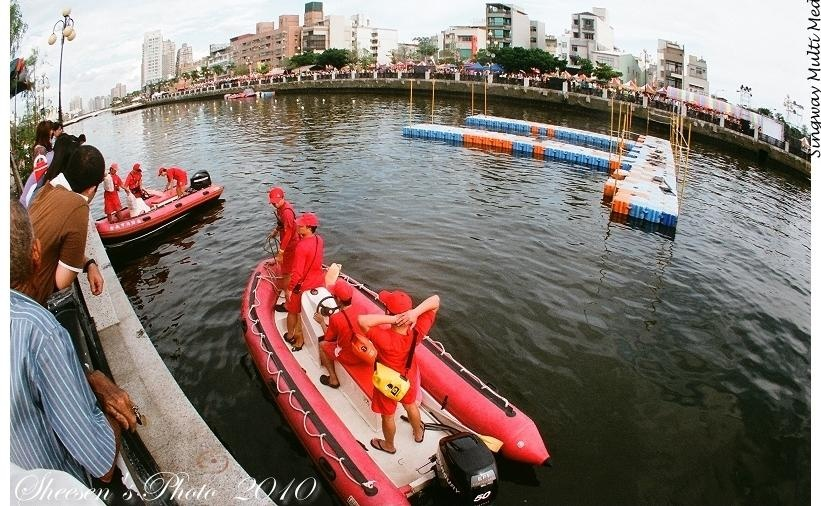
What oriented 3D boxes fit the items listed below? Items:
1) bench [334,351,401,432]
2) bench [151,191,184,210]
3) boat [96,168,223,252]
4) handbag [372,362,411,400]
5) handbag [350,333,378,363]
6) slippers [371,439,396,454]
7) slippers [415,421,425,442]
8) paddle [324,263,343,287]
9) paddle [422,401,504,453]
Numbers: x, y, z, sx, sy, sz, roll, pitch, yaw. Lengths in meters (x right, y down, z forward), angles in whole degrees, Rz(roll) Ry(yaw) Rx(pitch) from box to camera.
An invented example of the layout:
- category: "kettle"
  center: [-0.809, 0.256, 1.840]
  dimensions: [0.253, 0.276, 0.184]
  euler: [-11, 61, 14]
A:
- category: "bench"
  center: [-0.729, 2.437, 9.161]
  dimensions: [1.177, 0.554, 0.813]
  euler: [12, 24, 42]
- category: "bench"
  center: [-8.223, -1.755, 17.152]
  dimensions: [0.578, 0.198, 1.036]
  euler: [27, 33, 13]
- category: "boat"
  center: [-8.232, -1.111, 16.898]
  dimensions: [1.793, 1.311, 3.698]
  euler: [19, 37, 29]
- category: "handbag"
  center: [-0.305, 1.942, 8.129]
  dimensions: [0.601, 0.422, 0.195]
  euler: [41, 18, 9]
- category: "handbag"
  center: [-0.742, 1.513, 8.399]
  dimensions: [0.275, 0.367, 0.520]
  euler: [-31, 26, -12]
- category: "slippers"
  center: [-0.472, 3.202, 8.635]
  dimensions: [0.354, 0.092, 0.188]
  euler: [25, 27, 32]
- category: "slippers"
  center: [0.160, 3.015, 8.731]
  dimensions: [0.158, 0.139, 0.336]
  euler: [-3, 7, 4]
- category: "paddle"
  center: [-1.551, 0.404, 10.195]
  dimensions: [0.136, 0.283, 0.579]
  euler: [-30, 19, 17]
- category: "paddle"
  center: [0.853, 2.988, 8.947]
  dimensions: [0.525, 0.205, 1.747]
  euler: [-10, 18, -39]
